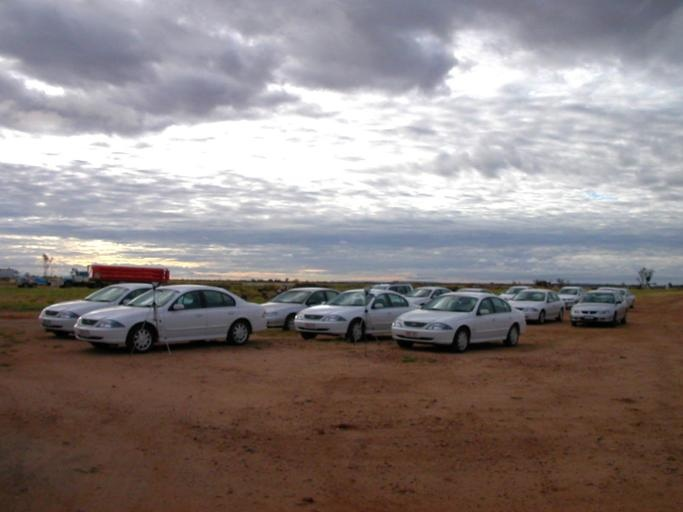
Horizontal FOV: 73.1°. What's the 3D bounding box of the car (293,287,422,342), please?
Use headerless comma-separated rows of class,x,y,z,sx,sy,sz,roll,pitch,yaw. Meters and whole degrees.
car,0.334,2.136,16.823,1.951,1.104,3.996,-5,-8,44

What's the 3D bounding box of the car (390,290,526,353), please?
car,3.877,2.152,15.457,4.244,1.838,1.689,2,-2,-35

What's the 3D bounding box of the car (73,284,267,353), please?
car,-5.113,1.908,14.206,5.092,1.377,2.210,7,-9,-38

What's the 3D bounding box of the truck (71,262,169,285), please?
truck,-24.591,2.165,51.842,12.765,2.712,3.027,2,1,3

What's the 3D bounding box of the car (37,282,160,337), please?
car,-8.104,1.754,16.295,4.175,1.159,1.886,1,-1,-43
